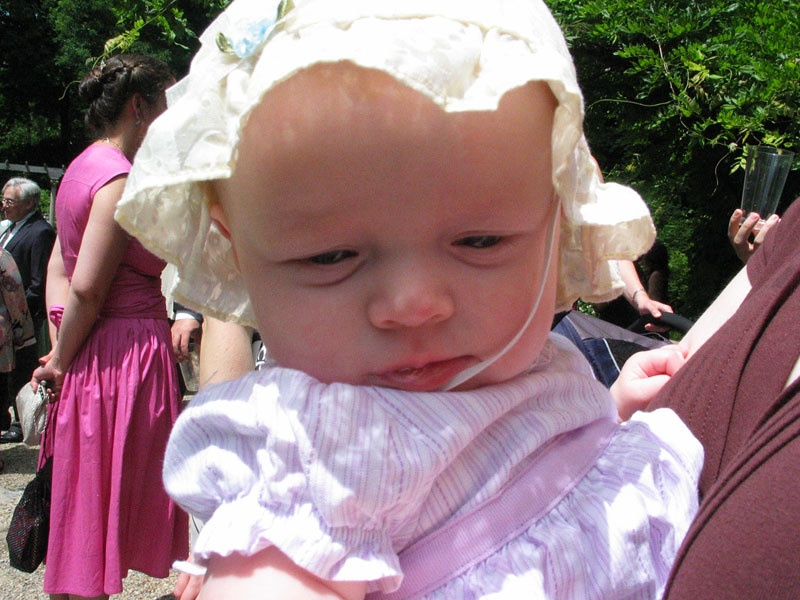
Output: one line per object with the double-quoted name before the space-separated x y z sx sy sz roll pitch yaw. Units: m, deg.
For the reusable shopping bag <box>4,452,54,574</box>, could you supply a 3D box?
"reusable shopping bag" -1.460 0.857 2.990 0.157 0.536 0.291 -6 12 -36
